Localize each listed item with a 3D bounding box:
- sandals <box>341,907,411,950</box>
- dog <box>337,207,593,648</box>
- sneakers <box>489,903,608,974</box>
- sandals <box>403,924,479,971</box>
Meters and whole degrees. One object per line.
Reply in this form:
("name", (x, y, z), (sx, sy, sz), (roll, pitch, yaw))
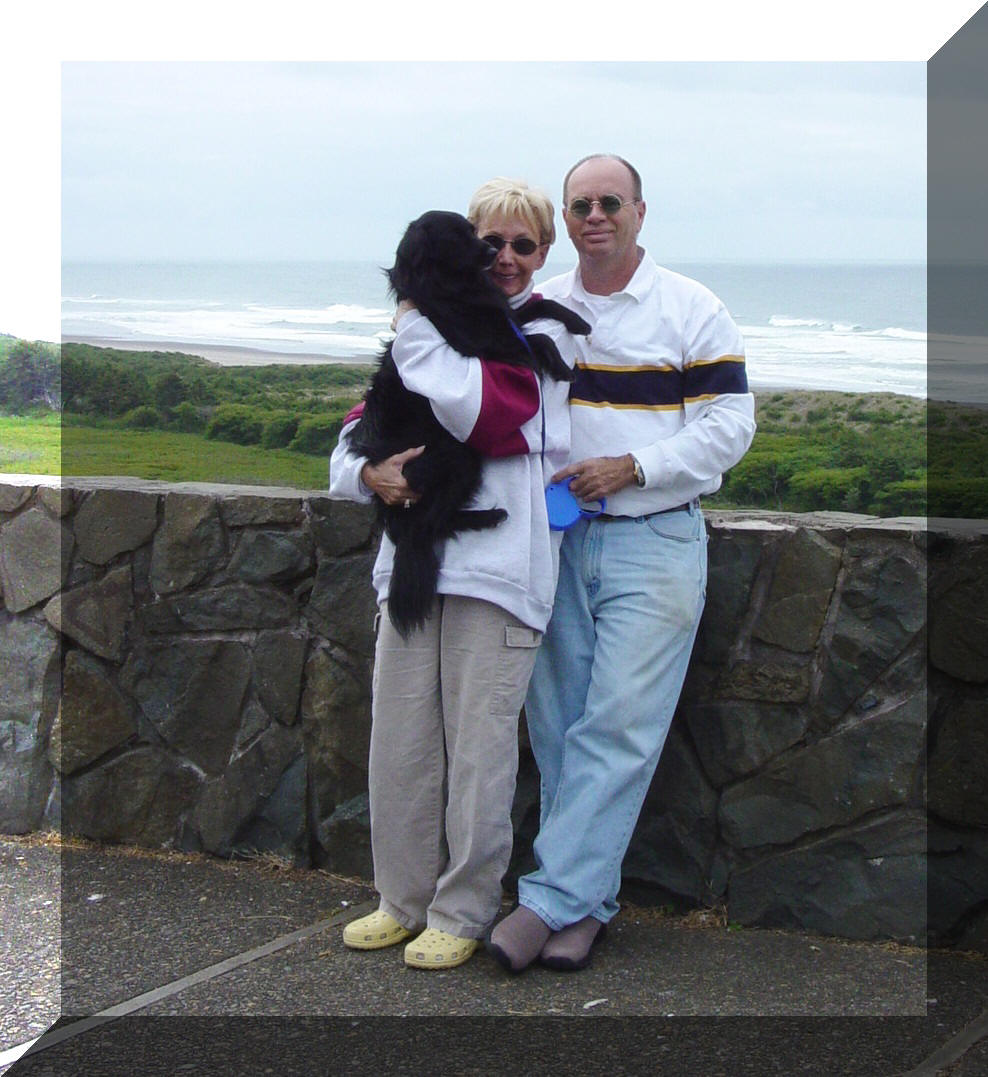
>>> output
("sandals", (-0.313, 1.054, 3.287), (0.200, 0.068, 0.086), (2, 0, -6))
("dog", (-0.077, -0.262, 3.288), (0.580, 1.151, 0.818), (-26, 39, -38))
("sneakers", (0.148, 1.056, 3.153), (0.115, 0.203, 0.290), (47, -4, 29))
("sandals", (-0.136, 1.060, 3.153), (0.172, 0.059, 0.079), (8, -19, -19))
